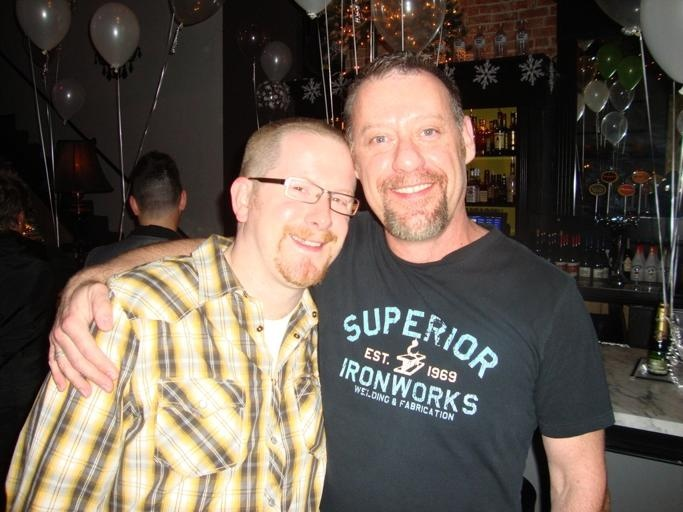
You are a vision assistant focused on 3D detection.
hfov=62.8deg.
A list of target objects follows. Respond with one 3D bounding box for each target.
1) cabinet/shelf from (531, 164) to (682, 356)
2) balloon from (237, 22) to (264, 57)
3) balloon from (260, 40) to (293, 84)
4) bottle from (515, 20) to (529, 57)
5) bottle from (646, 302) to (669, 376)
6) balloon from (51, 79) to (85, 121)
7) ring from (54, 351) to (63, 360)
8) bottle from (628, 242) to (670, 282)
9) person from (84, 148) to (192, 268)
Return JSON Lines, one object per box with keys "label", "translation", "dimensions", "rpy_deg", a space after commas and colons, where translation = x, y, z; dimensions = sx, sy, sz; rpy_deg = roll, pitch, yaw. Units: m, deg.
{"label": "cabinet/shelf", "translation": [2.273, -0.033, 4.618], "dimensions": [0.494, 1.694, 1.523], "rpy_deg": [3, -2, -39]}
{"label": "balloon", "translation": [-0.973, -2.286, 6.010], "dimensions": [0.268, 0.473, 0.293], "rpy_deg": [-2, 9, -15]}
{"label": "balloon", "translation": [-0.687, -2.036, 5.881], "dimensions": [0.333, 0.498, 0.359], "rpy_deg": [-1, 10, -23]}
{"label": "bottle", "translation": [1.855, -2.249, 5.743], "dimensions": [0.130, 0.419, 0.352], "rpy_deg": [1, 6, 19]}
{"label": "bottle", "translation": [1.835, 0.473, 3.238], "dimensions": [0.115, 0.386, 0.234], "rpy_deg": [3, 6, 31]}
{"label": "balloon", "translation": [-3.274, -1.812, 6.643], "dimensions": [0.352, 0.561, 0.395], "rpy_deg": [2, 1, 2]}
{"label": "ring", "translation": [-1.015, 0.354, 2.005], "dimensions": [0.024, 0.026, 0.069], "rpy_deg": [-5, 8, -40]}
{"label": "bottle", "translation": [2.949, 0.061, 5.343], "dimensions": [0.161, 0.528, 0.314], "rpy_deg": [5, -4, -36]}
{"label": "person", "translation": [-1.248, -0.264, 3.845], "dimensions": [0.802, 0.750, 0.616], "rpy_deg": [6, 18, -7]}
